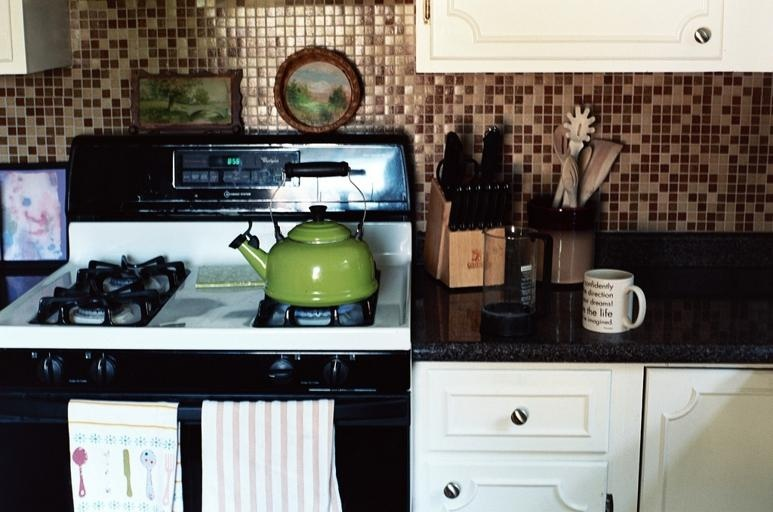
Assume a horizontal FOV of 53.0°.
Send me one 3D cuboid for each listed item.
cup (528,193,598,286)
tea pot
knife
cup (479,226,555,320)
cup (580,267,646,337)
[{"bbox_3d":[0.589,-0.046,2.666,0.225,0.280,0.234,0,10,0],"label":"cup"},{"bbox_3d":[-0.239,-0.080,2.382,0.425,0.406,0.368,2,7,-1],"label":"tea pot"},{"bbox_3d":[0.297,-0.256,2.613,0.239,0.351,0.324,3,16,10],"label":"knife"},{"bbox_3d":[0.374,0.047,2.243,0.233,0.340,0.217,3,0,0],"label":"cup"},{"bbox_3d":[0.662,0.143,2.236,0.124,0.165,0.200,-10,15,-32],"label":"cup"}]
